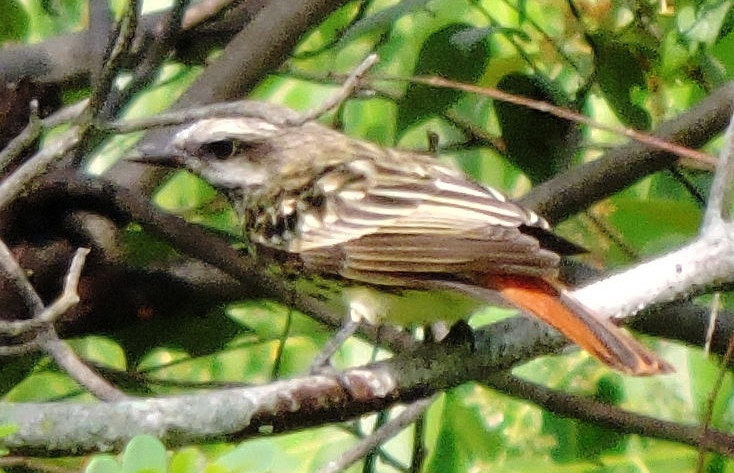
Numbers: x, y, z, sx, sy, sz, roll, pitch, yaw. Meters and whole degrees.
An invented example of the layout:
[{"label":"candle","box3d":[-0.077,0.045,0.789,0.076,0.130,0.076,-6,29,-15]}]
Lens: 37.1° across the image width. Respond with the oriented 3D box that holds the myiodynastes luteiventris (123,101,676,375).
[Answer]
[{"label":"myiodynastes luteiventris","box3d":[0.067,-0.003,1.635,0.745,0.259,0.295,4,95,27]}]
